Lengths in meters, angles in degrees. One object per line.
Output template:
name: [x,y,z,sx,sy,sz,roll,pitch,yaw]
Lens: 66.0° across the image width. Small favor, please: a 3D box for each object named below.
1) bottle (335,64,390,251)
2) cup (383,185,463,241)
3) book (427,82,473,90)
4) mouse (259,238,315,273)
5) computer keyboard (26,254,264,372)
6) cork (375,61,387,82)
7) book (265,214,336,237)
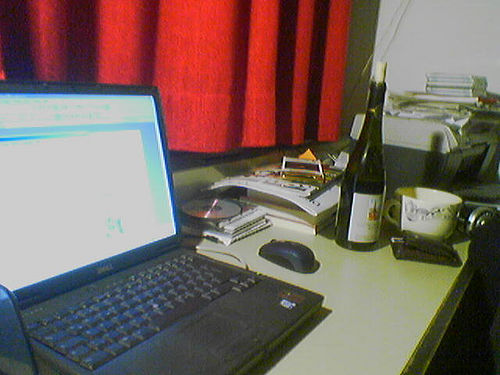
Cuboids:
bottle: [0.251,-0.063,0.844,0.098,0.393,0.150,6,22,19]
cup: [0.411,0.069,0.930,0.149,0.116,0.150,-2,20,1]
book: [0.643,-0.325,1.241,0.060,0.015,0.063,7,8,38]
mouse: [0.083,0.131,0.780,0.086,0.028,0.057,19,23,32]
computer keyboard: [-0.145,0.179,0.608,0.155,0.034,0.335,16,27,39]
cork: [0.276,-0.246,0.811,0.021,0.040,0.060,5,21,17]
book: [0.118,0.089,0.956,0.071,0.017,0.078,15,27,31]
